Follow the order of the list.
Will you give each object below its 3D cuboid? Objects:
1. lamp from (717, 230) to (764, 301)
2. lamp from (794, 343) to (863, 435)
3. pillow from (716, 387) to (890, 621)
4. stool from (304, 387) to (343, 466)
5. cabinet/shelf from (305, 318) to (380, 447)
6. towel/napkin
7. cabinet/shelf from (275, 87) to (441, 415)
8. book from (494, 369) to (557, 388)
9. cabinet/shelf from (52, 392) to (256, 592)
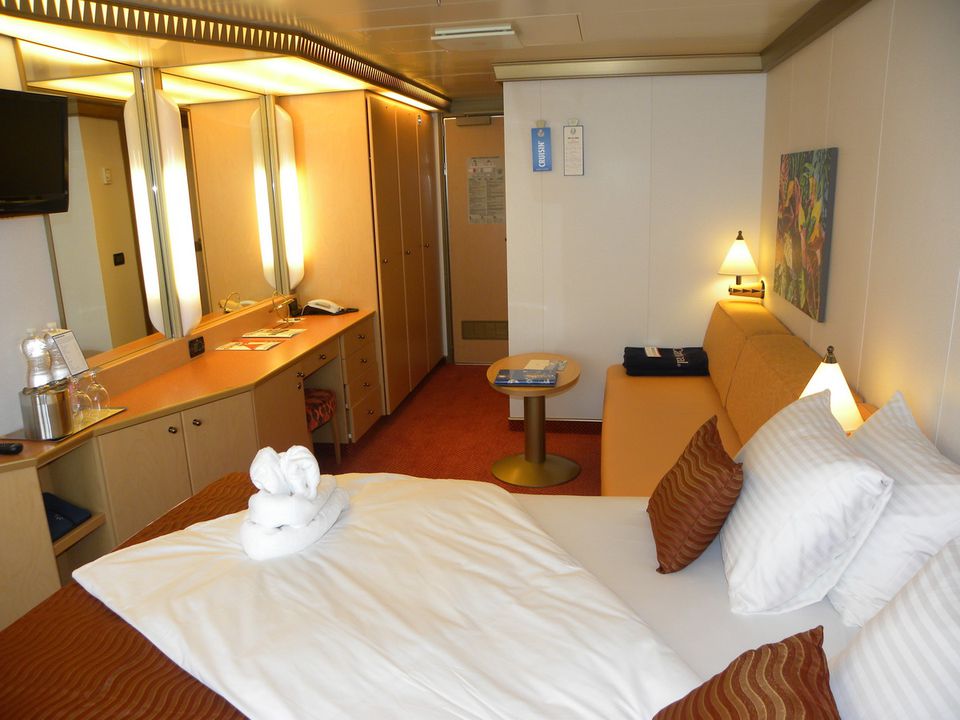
[{"bbox_3d":[1.752,-0.622,4.562,0.304,0.463,0.259,4,7,42],"label":"lamp"},{"bbox_3d":[1.372,0.105,2.671,0.257,0.314,0.279,-7,9,9],"label":"lamp"},{"bbox_3d":[1.009,0.506,2.246,0.165,0.582,0.579,32,-9,-6],"label":"pillow"},{"bbox_3d":[-1.041,0.423,4.572,0.302,0.459,0.422,0,16,1],"label":"stool"},{"bbox_3d":[-0.993,0.166,4.836,0.482,0.759,0.756,0,16,5],"label":"cabinet/shelf"},{"bbox_3d":[-0.687,0.508,2.532,0.262,0.276,0.414,0,2,5],"label":"towel/napkin"},{"bbox_3d":[-0.969,-0.834,5.203,0.634,2.309,2.003,-1,22,2],"label":"cabinet/shelf"},{"bbox_3d":[0.278,0.117,4.276,0.217,0.046,0.149,2,18,8],"label":"book"},{"bbox_3d":[-1.443,0.565,2.945,0.227,0.678,0.699,3,17,10],"label":"cabinet/shelf"}]
